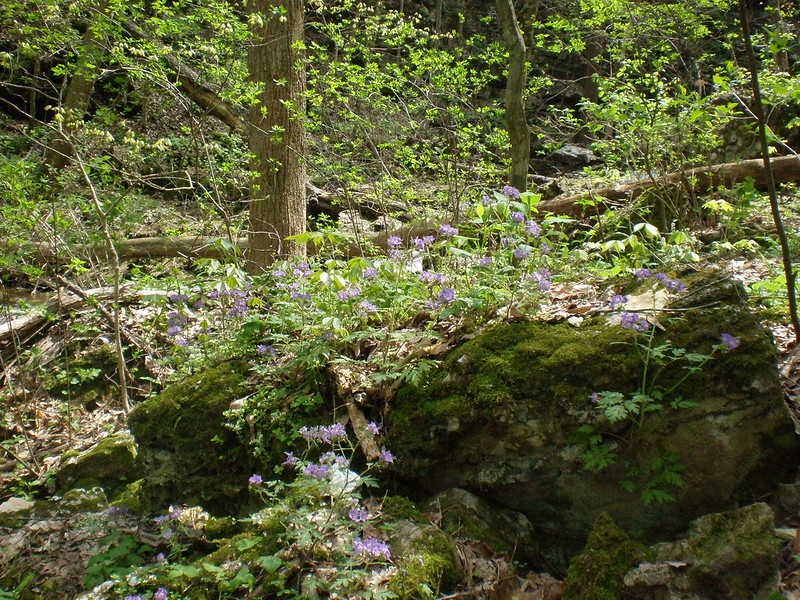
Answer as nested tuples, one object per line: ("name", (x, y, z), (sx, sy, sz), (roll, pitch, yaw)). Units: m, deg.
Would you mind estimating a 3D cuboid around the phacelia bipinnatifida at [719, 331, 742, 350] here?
("phacelia bipinnatifida", (2.458, 0.308, 4.951), (0.138, 0.095, 0.136), (3, 6, 25))
